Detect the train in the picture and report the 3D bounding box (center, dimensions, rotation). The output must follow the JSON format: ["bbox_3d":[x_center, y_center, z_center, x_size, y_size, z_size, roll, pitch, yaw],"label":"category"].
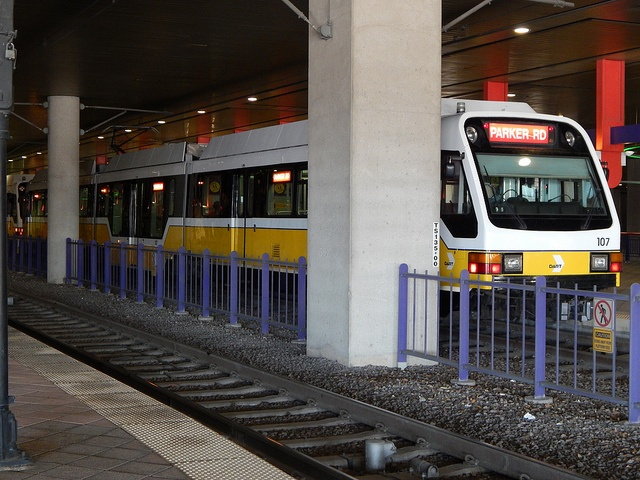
[{"bbox_3d":[-3.936,-1.139,21.864,5.385,5.742,26.879,-3,5,-33],"label":"train"}]
